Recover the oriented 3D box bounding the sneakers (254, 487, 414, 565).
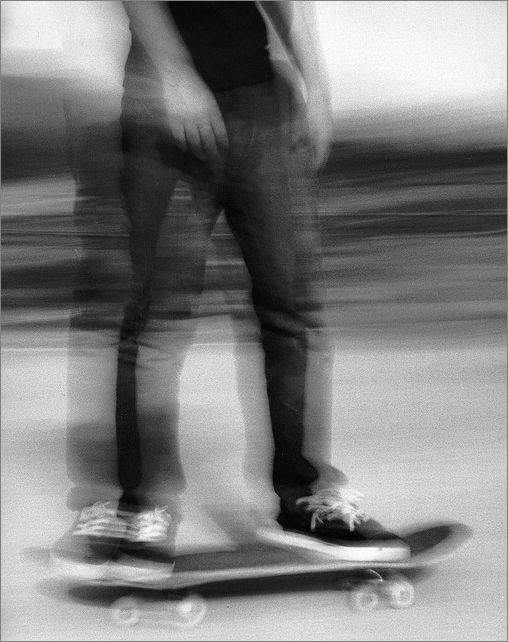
[{"bbox_3d":[0.104,0.247,1.007,0.124,0.068,0.213,5,-8,-31],"label":"sneakers"}]
